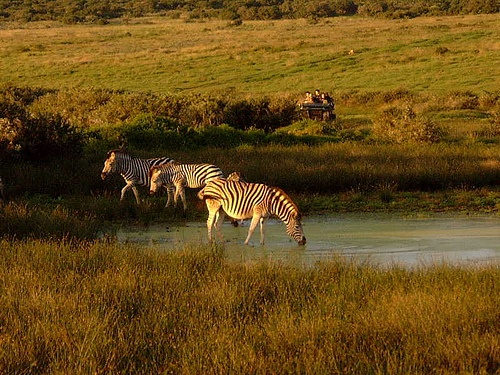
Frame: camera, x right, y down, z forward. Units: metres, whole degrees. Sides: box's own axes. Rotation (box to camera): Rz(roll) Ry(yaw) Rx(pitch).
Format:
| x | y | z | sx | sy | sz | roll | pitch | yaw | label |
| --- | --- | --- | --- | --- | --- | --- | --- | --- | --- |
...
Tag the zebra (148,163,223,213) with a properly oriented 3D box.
| x | y | z | sx | sy | sz | roll | pitch | yaw | label |
| --- | --- | --- | --- | --- | --- | --- | --- | --- | --- |
| -3.246 | -0.161 | 56.786 | 3.879 | 2.619 | 1.133 | -2 | 20 | -9 | zebra |
